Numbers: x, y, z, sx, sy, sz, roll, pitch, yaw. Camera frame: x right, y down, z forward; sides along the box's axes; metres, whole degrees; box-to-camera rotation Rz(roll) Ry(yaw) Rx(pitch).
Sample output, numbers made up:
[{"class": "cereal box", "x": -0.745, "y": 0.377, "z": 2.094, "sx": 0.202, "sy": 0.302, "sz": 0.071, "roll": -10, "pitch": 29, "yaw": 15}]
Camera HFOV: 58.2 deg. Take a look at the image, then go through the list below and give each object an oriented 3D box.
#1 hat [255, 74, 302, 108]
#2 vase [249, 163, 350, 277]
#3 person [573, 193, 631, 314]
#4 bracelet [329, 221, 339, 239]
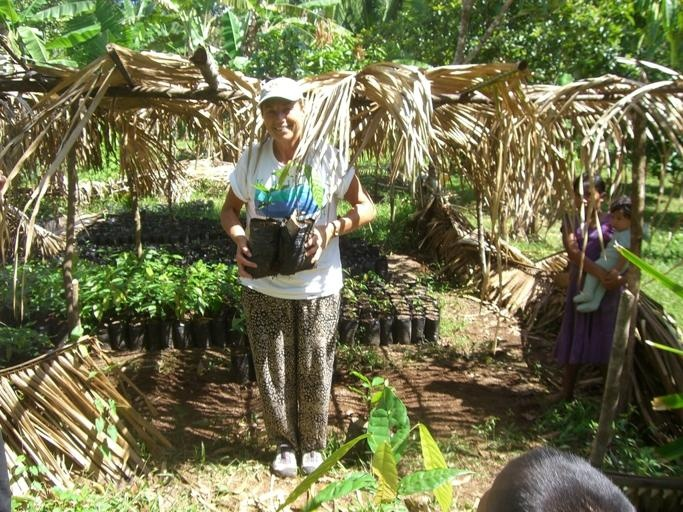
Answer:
[{"class": "hat", "x": -0.294, "y": -0.888, "z": 3.327, "sx": 0.307, "sy": 0.161, "sz": 0.158, "roll": -6, "pitch": 12, "yaw": -39}, {"class": "vase", "x": -0.302, "y": -0.174, "z": 3.314, "sx": 0.415, "sy": 0.629, "sz": 0.345, "roll": 0, "pitch": 9, "yaw": -6}, {"class": "person", "x": 1.741, "y": 0.000, "z": 4.100, "sx": 0.307, "sy": 0.798, "sz": 0.314, "roll": 5, "pitch": 10, "yaw": 22}, {"class": "bracelet", "x": -0.036, "y": -0.140, "z": 3.418, "sx": 0.026, "sy": 0.082, "sz": 0.059, "roll": -7, "pitch": 8, "yaw": -13}]
